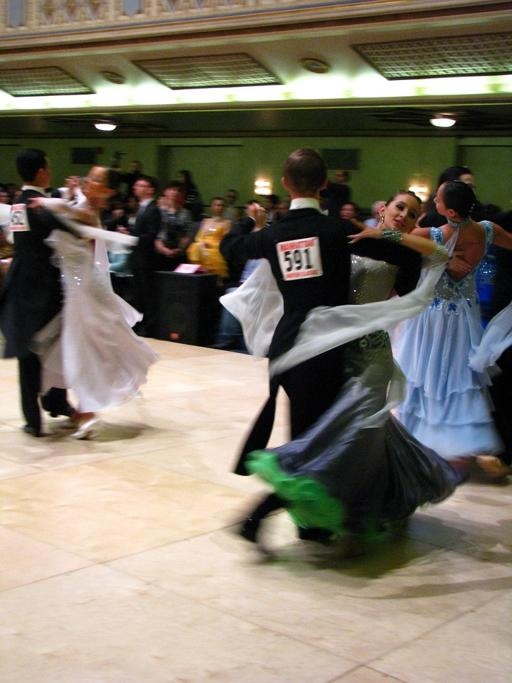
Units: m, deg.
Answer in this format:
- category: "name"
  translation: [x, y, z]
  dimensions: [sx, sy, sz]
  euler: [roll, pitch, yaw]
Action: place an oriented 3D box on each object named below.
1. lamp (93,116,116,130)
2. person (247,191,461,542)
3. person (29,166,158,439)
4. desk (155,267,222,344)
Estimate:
- category: "lamp"
  translation: [-3.306, -4.800, 12.498]
  dimensions: [0.399, 0.181, 0.619]
  euler: [4, -3, -37]
- category: "person"
  translation: [0.396, 0.339, 2.154]
  dimensions: [0.827, 0.756, 0.307]
  euler: [4, -3, -40]
- category: "person"
  translation: [-1.078, -0.239, 3.872]
  dimensions: [0.701, 1.792, 0.614]
  euler: [3, -3, 0]
- category: "desk"
  translation: [-0.884, -0.493, 7.711]
  dimensions: [1.122, 1.046, 0.434]
  euler: [8, 12, 28]
